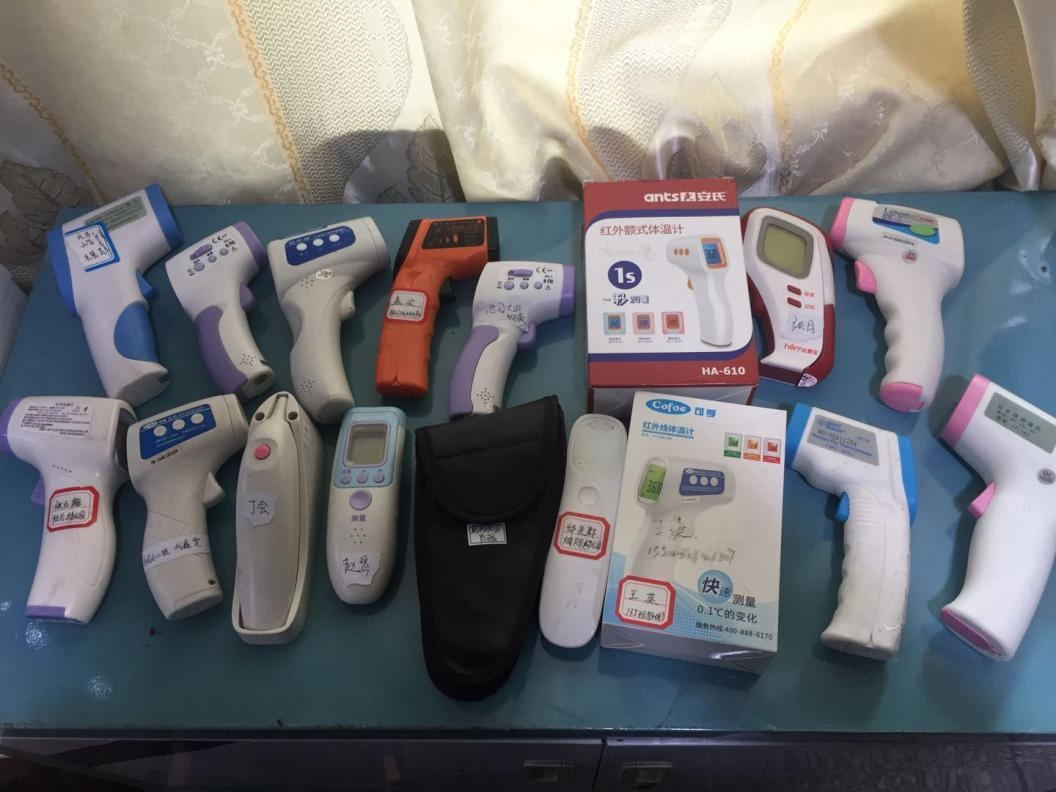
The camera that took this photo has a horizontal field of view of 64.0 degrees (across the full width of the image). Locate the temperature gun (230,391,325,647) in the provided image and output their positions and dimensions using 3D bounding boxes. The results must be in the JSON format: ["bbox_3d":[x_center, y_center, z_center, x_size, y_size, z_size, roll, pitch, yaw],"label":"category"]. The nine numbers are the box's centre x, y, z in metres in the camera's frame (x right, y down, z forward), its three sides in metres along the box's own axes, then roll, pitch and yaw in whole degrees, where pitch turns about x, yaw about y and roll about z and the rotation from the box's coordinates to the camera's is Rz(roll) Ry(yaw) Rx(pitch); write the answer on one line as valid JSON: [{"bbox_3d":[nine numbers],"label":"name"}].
[{"bbox_3d":[-0.337,0.191,1.321,0.103,0.202,0.380,1,74,-3],"label":"temperature gun"}]

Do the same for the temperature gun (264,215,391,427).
[{"bbox_3d":[-0.332,-0.136,1.443,0.212,0.089,0.417,-9,54,-6],"label":"temperature gun"}]

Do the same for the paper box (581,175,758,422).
[{"bbox_3d":[0.225,-0.148,1.436,0.279,0.138,0.433,-1,61,0],"label":"paper box"}]

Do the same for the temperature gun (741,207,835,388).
[{"bbox_3d":[0.444,-0.171,1.477,0.155,0.074,0.305,5,70,-2],"label":"temperature gun"}]

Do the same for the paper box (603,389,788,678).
[{"bbox_3d":[0.257,0.184,1.305,0.239,0.420,0.122,6,20,9],"label":"paper box"}]
